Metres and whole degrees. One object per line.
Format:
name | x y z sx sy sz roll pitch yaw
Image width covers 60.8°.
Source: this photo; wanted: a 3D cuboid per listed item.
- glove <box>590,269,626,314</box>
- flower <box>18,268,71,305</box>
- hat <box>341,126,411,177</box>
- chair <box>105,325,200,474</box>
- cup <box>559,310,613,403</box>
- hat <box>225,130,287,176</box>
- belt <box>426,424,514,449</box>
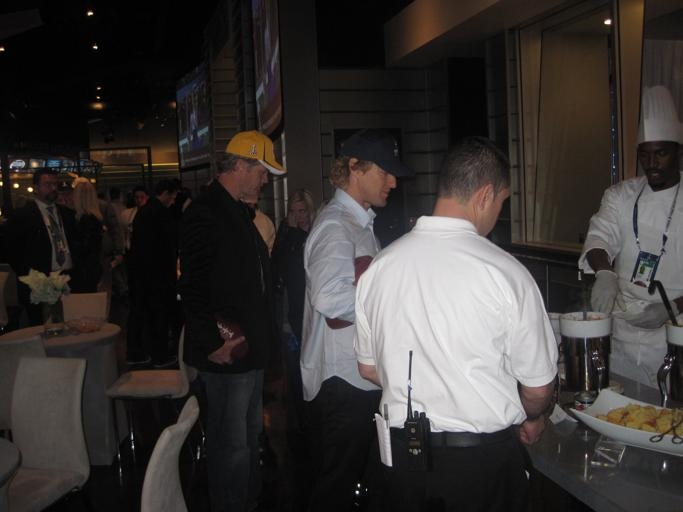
glove | 1.296 0.173 2.836 0.140 0.195 0.184 1 5 23
flower | -2.067 0.216 4.052 0.273 0.236 0.153 -4 6 -35
hat | 0.153 -0.450 2.548 0.265 0.137 0.186 15 20 1
chair | -1.326 0.950 4.081 0.566 0.919 0.529 -2 6 -5
cup | 0.962 0.394 2.344 0.204 0.342 0.234 3 6 36
hat | -0.440 -0.542 3.053 0.302 0.182 0.201 12 16 -19
belt | 0.427 0.595 1.889 0.274 0.055 0.033 -1 5 -4
